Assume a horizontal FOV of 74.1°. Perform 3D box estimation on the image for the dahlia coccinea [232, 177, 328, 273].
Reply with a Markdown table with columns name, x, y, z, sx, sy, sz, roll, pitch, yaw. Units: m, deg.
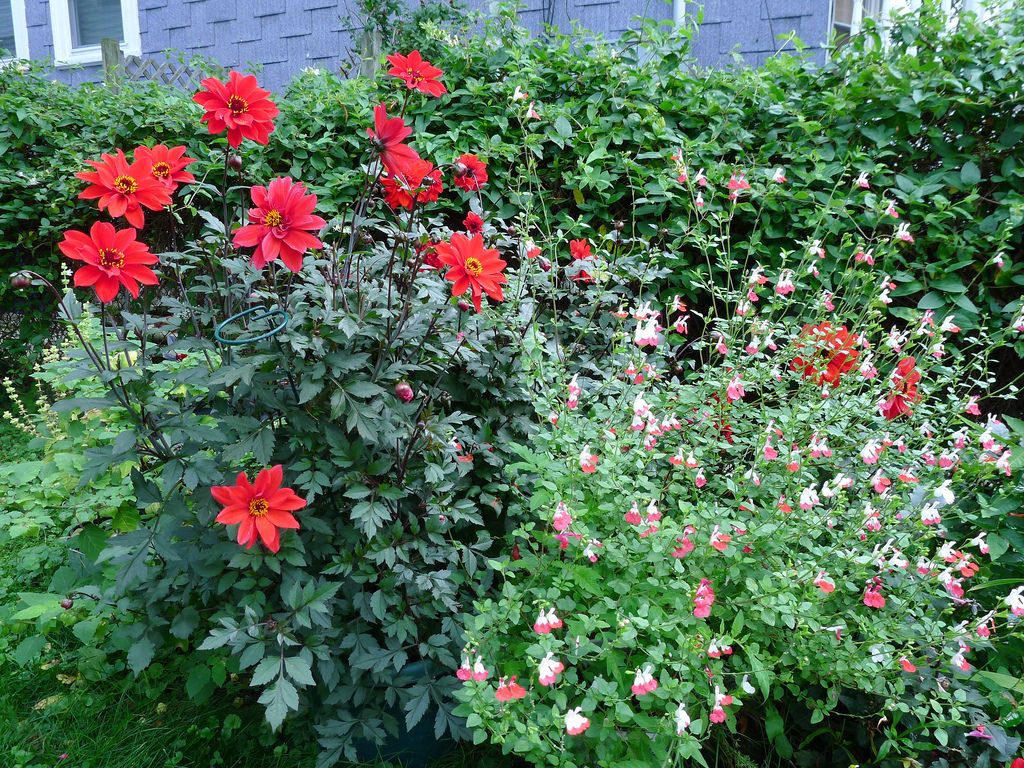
| name | x | y | z | sx | sy | sz | roll | pitch | yaw |
| --- | --- | --- | --- | --- | --- | --- | --- | --- | --- |
| dahlia coccinea | -0.688 | -0.489 | 2.002 | 0.260 | 0.253 | 0.069 | -20 | 62 | -6 |

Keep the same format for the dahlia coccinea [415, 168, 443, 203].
| name | x | y | z | sx | sy | sz | roll | pitch | yaw |
| --- | --- | --- | --- | --- | --- | --- | --- | --- | --- |
| dahlia coccinea | -0.269 | -0.686 | 2.329 | 0.050 | 0.106 | 0.108 | 15 | -22 | 2 |

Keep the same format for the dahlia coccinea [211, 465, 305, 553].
| name | x | y | z | sx | sy | sz | roll | pitch | yaw |
| --- | --- | --- | --- | --- | --- | --- | --- | --- | --- |
| dahlia coccinea | -0.774 | 0.331 | 2.006 | 0.276 | 0.097 | 0.252 | -8 | 22 | 28 |

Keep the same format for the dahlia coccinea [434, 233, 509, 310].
| name | x | y | z | sx | sy | sz | roll | pitch | yaw |
| --- | --- | --- | --- | --- | --- | --- | --- | --- | --- |
| dahlia coccinea | -0.128 | -0.368 | 2.195 | 0.223 | 0.233 | 0.225 | -7 | 21 | -25 |

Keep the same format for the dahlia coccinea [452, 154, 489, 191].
| name | x | y | z | sx | sy | sz | roll | pitch | yaw |
| --- | --- | --- | --- | --- | --- | --- | --- | --- | --- |
| dahlia coccinea | -0.146 | -0.765 | 2.393 | 0.131 | 0.135 | 0.064 | 11 | -13 | -12 |

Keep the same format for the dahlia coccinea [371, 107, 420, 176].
| name | x | y | z | sx | sy | sz | roll | pitch | yaw |
| --- | --- | --- | --- | --- | --- | --- | --- | --- | --- |
| dahlia coccinea | -0.345 | -0.750 | 2.112 | 0.123 | 0.202 | 0.188 | 13 | 22 | 26 |

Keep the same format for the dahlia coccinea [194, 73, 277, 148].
| name | x | y | z | sx | sy | sz | roll | pitch | yaw |
| --- | --- | --- | --- | --- | --- | --- | --- | --- | --- |
| dahlia coccinea | -0.848 | -0.846 | 2.095 | 0.253 | 0.242 | 0.088 | -9 | 4 | -31 |

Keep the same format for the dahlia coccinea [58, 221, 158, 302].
| name | x | y | z | sx | sy | sz | roll | pitch | yaw |
| --- | --- | --- | --- | --- | --- | --- | --- | --- | --- |
| dahlia coccinea | -1.218 | -0.366 | 2.073 | 0.240 | 0.254 | 0.221 | -6 | 21 | -25 |

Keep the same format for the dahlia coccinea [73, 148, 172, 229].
| name | x | y | z | sx | sy | sz | roll | pitch | yaw |
| --- | --- | --- | --- | --- | --- | --- | --- | --- | --- |
| dahlia coccinea | -1.209 | -0.635 | 2.136 | 0.274 | 0.079 | 0.273 | -28 | 35 | -29 |
